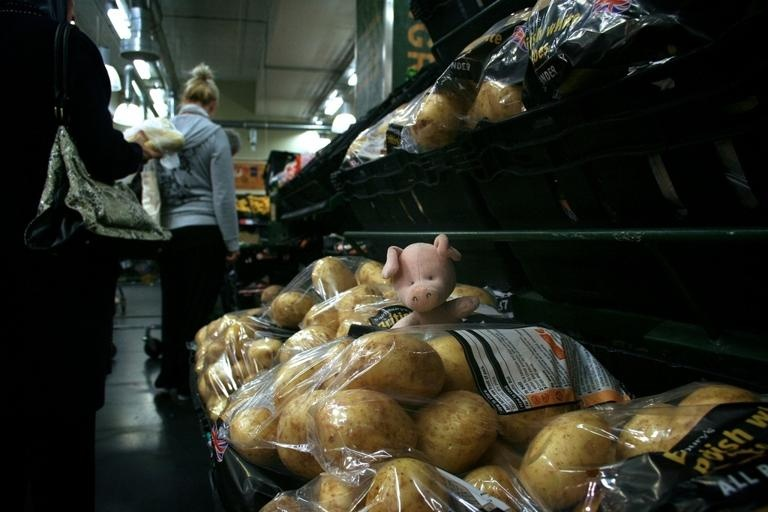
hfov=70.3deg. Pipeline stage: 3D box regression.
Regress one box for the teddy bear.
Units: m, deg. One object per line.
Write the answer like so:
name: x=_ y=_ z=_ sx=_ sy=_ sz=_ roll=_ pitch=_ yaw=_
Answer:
teddy bear: x=0.097 y=0.094 z=1.296 sx=0.214 sy=0.273 sz=0.170 roll=-14 pitch=0 yaw=-6

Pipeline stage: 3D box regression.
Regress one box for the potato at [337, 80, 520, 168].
potato: x=0.004 y=-0.408 z=1.793 sx=0.155 sy=0.202 sz=0.568 roll=-2 pitch=4 yaw=-18
